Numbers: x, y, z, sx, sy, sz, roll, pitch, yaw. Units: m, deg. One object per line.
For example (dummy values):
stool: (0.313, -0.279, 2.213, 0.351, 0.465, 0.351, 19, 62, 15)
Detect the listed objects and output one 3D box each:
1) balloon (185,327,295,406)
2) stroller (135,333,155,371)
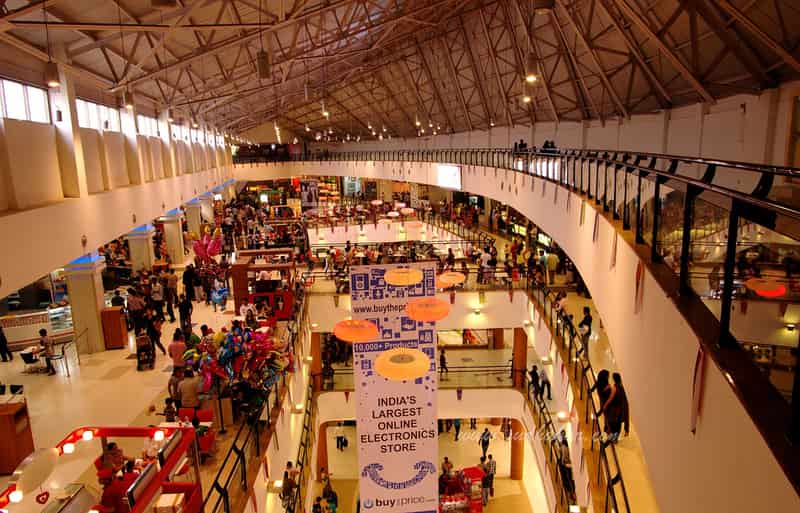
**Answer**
balloon: (-3.299, 2.044, 11.129, 1.479, 1.582, 1.916, 1, 5, -23)
stroller: (-6.433, 2.393, 13.810, 0.535, 0.894, 0.572, -2, 3, 8)
